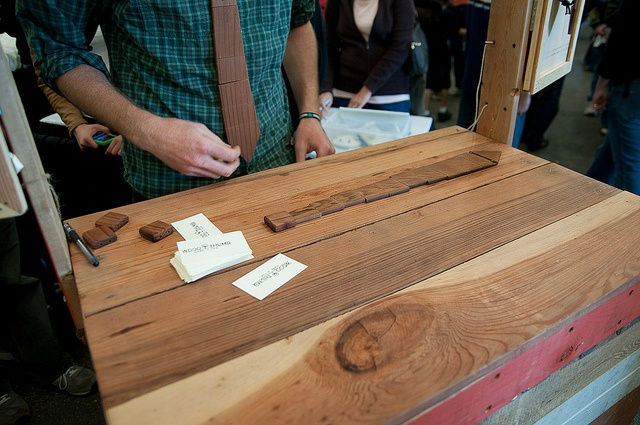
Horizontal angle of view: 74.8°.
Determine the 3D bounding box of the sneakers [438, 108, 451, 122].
[{"bbox_3d":[1.491,-1.161,5.043,0.180,0.191,0.102,-6,14,-5],"label":"sneakers"}]
